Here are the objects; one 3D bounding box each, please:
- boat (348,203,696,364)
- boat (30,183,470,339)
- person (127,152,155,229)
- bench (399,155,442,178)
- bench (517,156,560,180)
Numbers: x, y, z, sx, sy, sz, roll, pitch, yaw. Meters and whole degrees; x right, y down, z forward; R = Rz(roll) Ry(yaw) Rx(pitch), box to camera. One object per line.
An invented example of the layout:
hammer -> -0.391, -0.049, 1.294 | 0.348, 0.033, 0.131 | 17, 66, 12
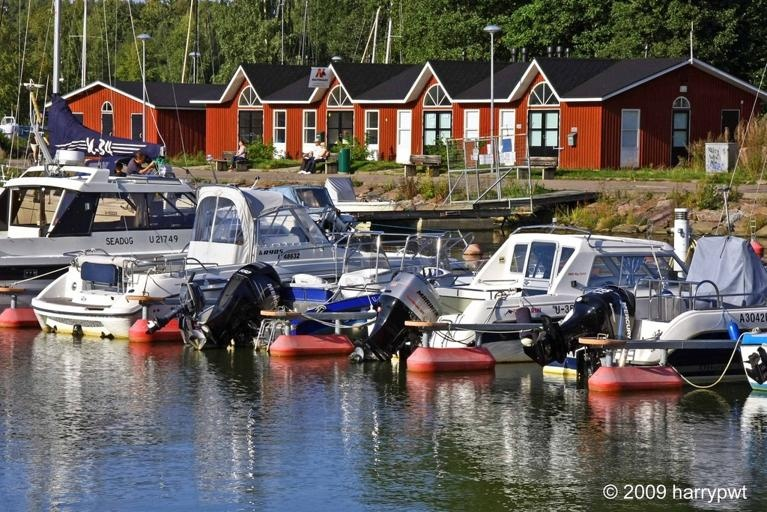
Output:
boat -> 3.132, 0.740, 38.902 | 8.085, 3.919, 3.104 | 2, 3, 19
boat -> -3.906, 0.212, 39.624 | 10.410, 3.239, 3.342 | -5, 9, -24
person -> -6.895, -2.542, 43.827 | 0.829, 0.787, 0.584 | -24, 52, -14
bench -> 1.542, -3.801, 63.356 | 1.320, 0.762, 1.288 | 0, 2, 15
bench -> 6.008, -3.486, 61.201 | 1.608, 0.936, 7.737 | -1, 3, 6
